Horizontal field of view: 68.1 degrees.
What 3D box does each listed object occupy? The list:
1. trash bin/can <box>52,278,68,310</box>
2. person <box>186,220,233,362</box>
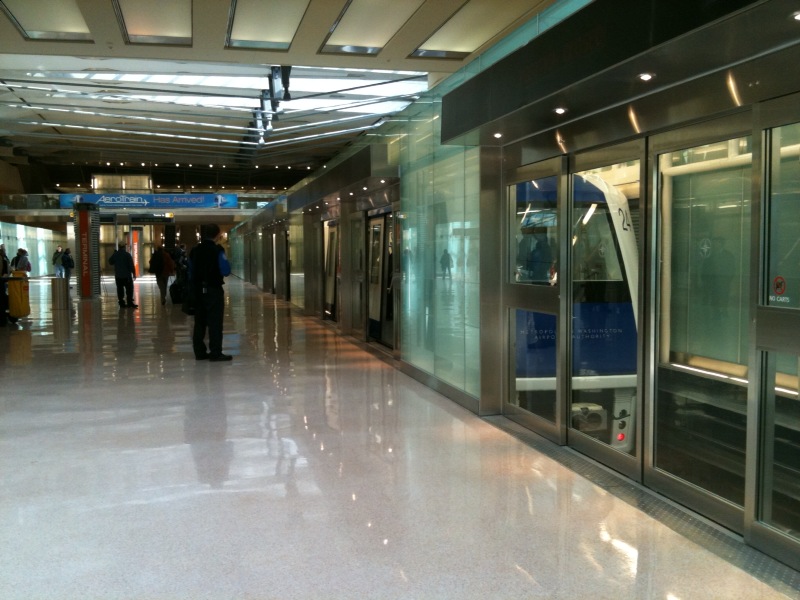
[{"bbox_3d":[-10.386,-0.192,18.090,0.561,0.936,0.228,1,5,5],"label":"trash bin/can"},{"bbox_3d":[-3.134,-0.100,9.815,0.895,2.256,0.483,5,7,42],"label":"person"}]
